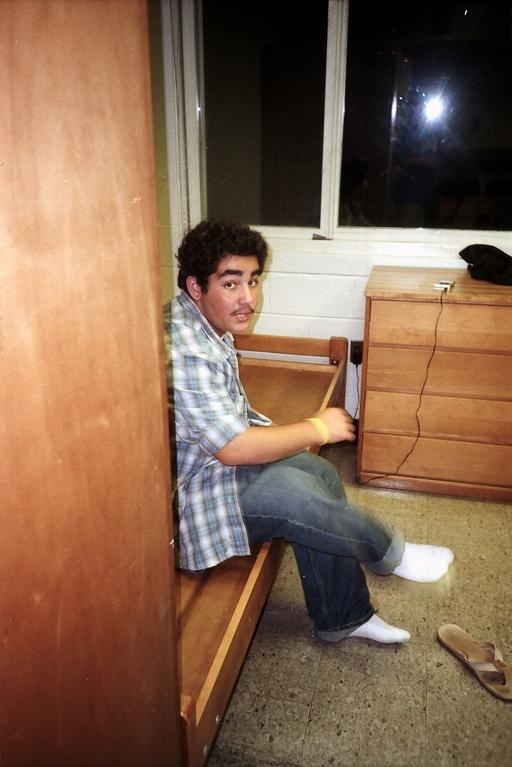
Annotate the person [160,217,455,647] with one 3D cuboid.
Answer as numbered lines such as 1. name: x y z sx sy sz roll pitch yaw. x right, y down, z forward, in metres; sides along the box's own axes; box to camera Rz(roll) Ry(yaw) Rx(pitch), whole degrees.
1. person: 0.101 0.133 1.446 0.667 1.066 0.486 -6 7 16
